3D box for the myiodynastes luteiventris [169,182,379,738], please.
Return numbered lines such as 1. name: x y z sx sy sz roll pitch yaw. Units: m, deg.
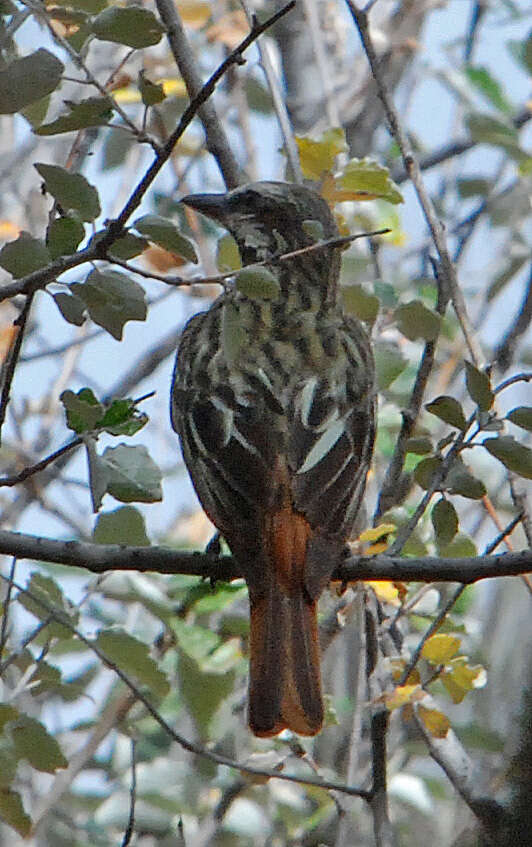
1. myiodynastes luteiventris: 0.043 0.014 3.251 0.443 1.225 0.753 -2 -36 -2
